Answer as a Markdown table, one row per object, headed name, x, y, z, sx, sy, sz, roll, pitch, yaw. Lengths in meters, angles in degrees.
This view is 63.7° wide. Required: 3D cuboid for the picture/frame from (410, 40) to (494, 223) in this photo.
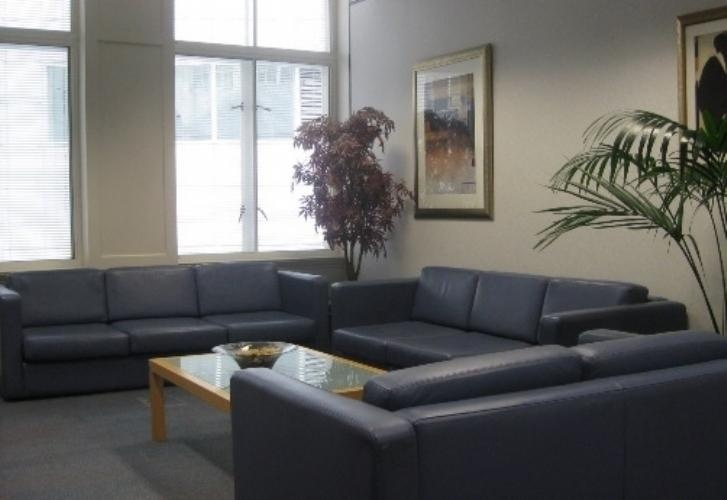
| name | x | y | z | sx | sy | sz | roll | pitch | yaw |
| --- | --- | --- | --- | --- | --- | --- | --- | --- | --- |
| picture/frame | 0.881 | -1.116 | 5.732 | 0.094 | 1.595 | 1.034 | -4 | 7 | -39 |
